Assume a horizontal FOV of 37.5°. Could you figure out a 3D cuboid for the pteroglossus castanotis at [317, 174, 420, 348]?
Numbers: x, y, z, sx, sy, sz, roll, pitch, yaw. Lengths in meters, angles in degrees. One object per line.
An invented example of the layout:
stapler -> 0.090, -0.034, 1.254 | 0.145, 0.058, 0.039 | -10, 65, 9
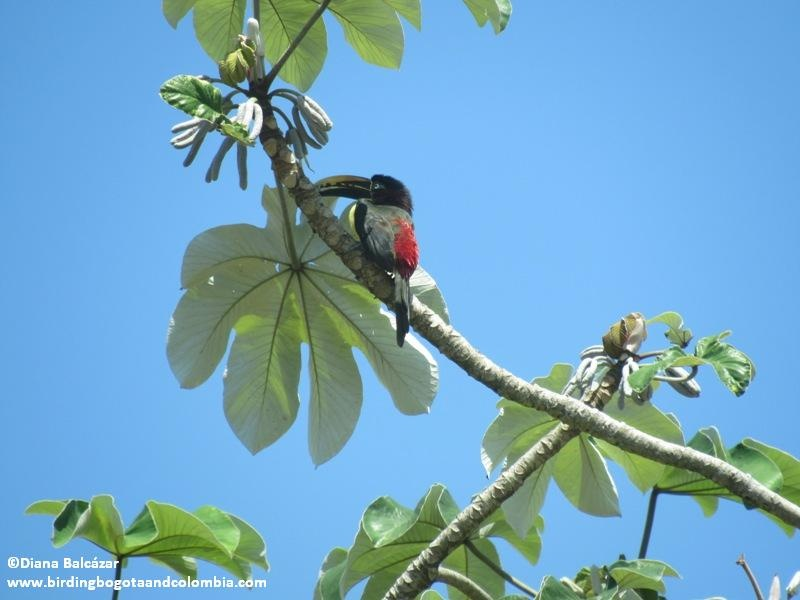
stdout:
pteroglossus castanotis -> -0.176, -0.281, 6.370 | 0.554, 0.833, 0.372 | 9, -49, 0
